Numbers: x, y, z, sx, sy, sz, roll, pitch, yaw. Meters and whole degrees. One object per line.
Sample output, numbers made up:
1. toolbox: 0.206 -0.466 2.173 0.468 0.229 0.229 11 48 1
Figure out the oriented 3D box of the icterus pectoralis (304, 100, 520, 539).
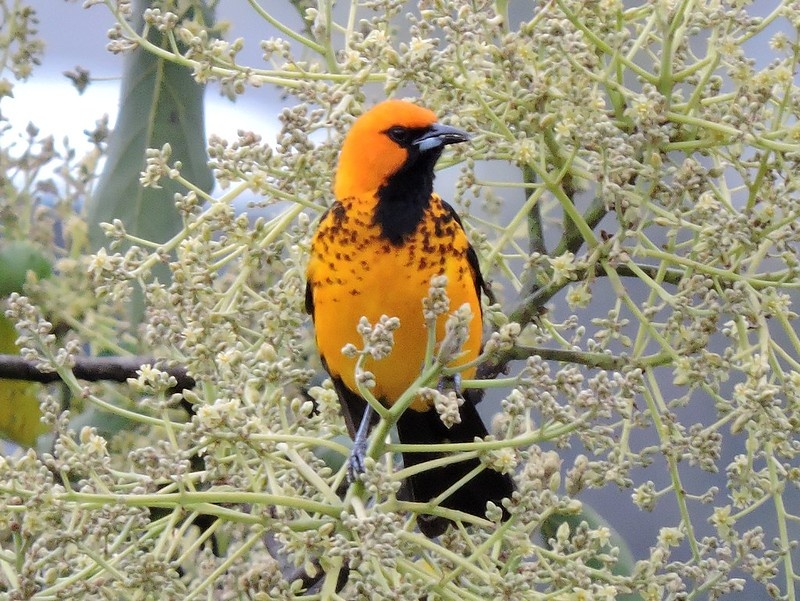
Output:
1. icterus pectoralis: 0.001 0.133 3.846 0.519 0.774 1.258 -10 -58 -6
